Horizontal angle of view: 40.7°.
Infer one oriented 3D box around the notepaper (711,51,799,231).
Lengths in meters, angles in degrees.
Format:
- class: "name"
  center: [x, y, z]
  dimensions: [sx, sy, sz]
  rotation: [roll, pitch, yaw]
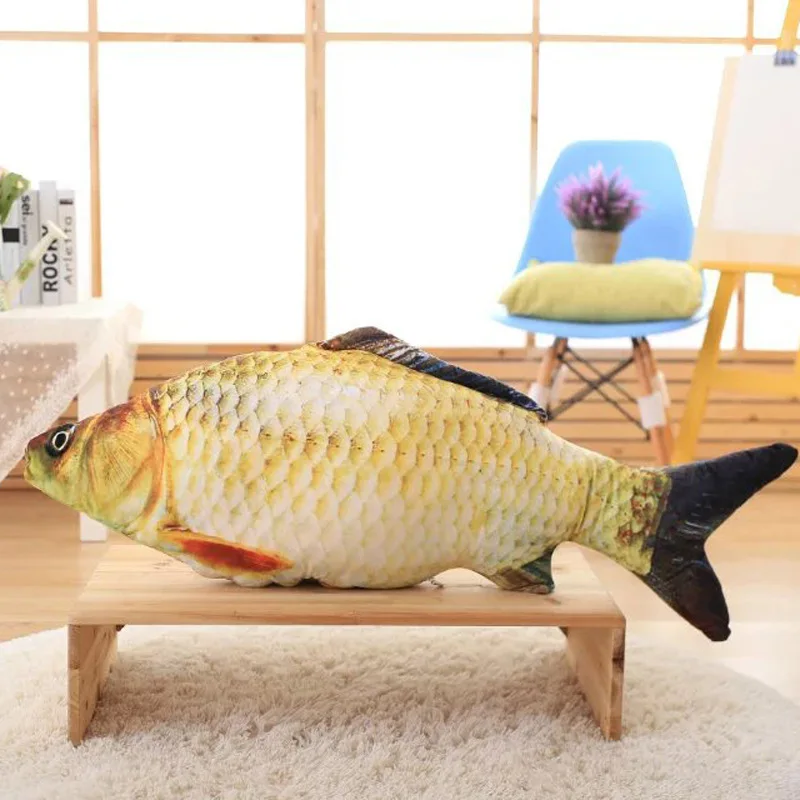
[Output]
- class: "notepaper"
  center: [0.635, -0.442, 1.876]
  dimensions: [0.163, 0.307, 0.069]
  rotation: [7, 13, 20]
